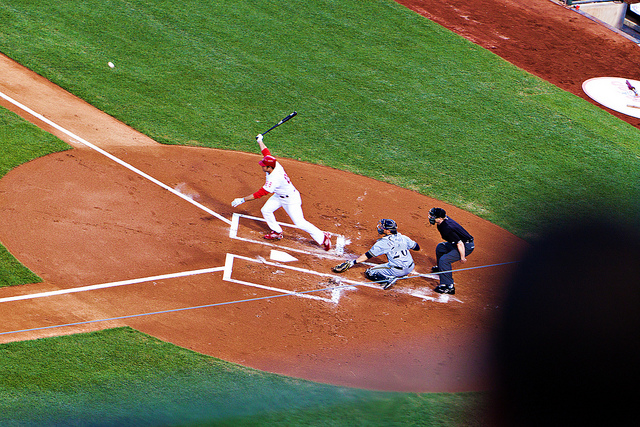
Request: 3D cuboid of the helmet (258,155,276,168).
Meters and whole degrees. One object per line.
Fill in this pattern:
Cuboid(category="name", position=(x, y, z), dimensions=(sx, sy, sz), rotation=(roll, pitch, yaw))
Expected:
Cuboid(category="helmet", position=(-1.378, -1.403, 27.380), dimensions=(0.419, 0.320, 0.355), rotation=(19, 17, -3))

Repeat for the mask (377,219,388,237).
Cuboid(category="mask", position=(1.625, 0.348, 27.419), dimensions=(0.335, 0.324, 0.291), rotation=(7, 17, -5))

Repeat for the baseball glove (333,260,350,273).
Cuboid(category="baseball glove", position=(0.594, 1.423, 27.541), dimensions=(0.353, 0.419, 0.240), rotation=(28, 19, 10))

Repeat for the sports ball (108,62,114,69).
Cuboid(category="sports ball", position=(-6.583, -4.658, 31.896), dimensions=(0.191, 0.173, 0.226), rotation=(15, 17, -21))

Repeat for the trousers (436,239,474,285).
Cuboid(category="trousers", position=(3.663, 1.344, 27.788), dimensions=(1.045, 1.313, 0.595), rotation=(-6, 62, 1))

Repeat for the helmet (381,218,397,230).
Cuboid(category="helmet", position=(1.843, 0.293, 27.348), dimensions=(0.477, 0.250, 0.265), rotation=(17, 18, -2))
